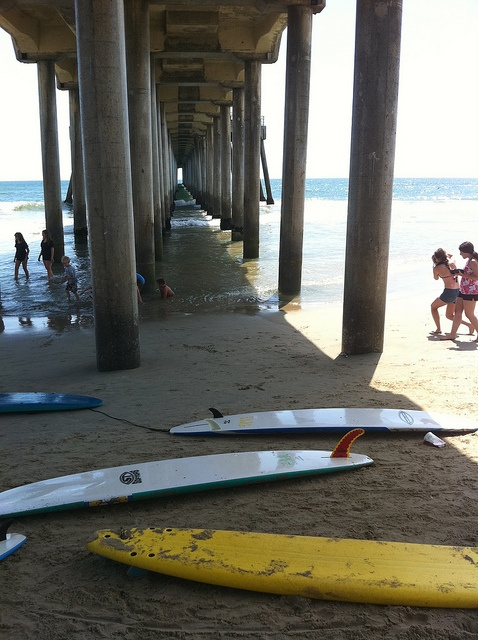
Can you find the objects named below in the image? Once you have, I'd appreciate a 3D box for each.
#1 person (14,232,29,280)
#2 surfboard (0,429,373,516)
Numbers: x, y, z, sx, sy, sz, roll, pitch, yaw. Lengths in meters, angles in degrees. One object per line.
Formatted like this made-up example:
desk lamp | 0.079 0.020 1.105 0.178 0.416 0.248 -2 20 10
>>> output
person | -5.207 -1.531 14.674 0.351 1.090 1.485 -6 12 -19
surfboard | -0.319 1.019 4.045 1.717 0.310 0.271 -3 18 -13
